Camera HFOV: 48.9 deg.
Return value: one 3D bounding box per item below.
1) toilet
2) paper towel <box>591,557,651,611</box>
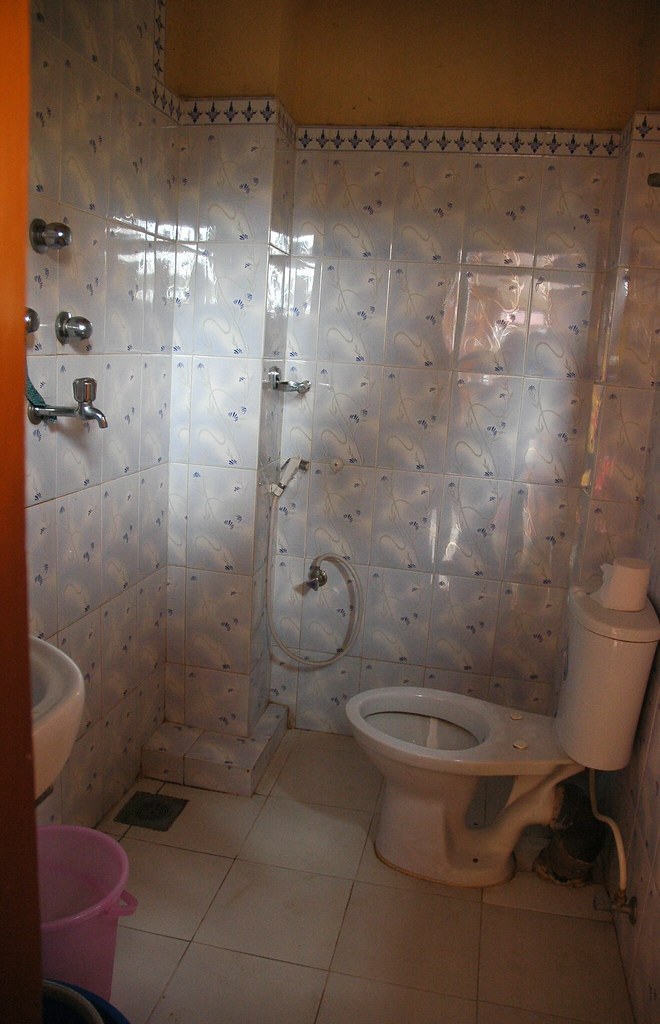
[{"bbox_3d":[0.464,0.484,2.354,0.835,1.166,0.552,7,15,12],"label":"toilet"},{"bbox_3d":[0.749,0.177,1.887,0.093,0.127,0.130,3,6,-27],"label":"paper towel"}]
